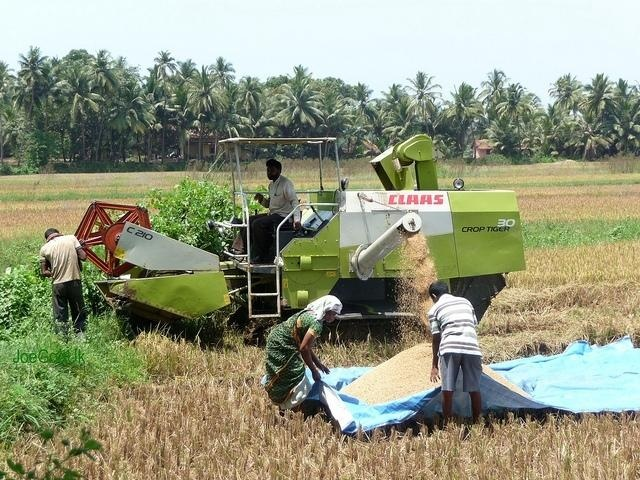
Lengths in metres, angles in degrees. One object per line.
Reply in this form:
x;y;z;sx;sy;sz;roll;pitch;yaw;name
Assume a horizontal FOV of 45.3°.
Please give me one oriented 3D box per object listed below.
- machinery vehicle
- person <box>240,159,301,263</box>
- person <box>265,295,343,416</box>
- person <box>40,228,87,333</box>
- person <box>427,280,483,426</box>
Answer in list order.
-0.204;-0.052;13.754;7.366;3.580;2.850;-2;-9;-4;machinery vehicle
-0.860;-0.484;13.017;0.949;1.810;1.007;-1;6;-17;person
-0.227;1.637;10.666;1.002;1.999;0.803;-1;23;-19;person
-4.097;0.720;12.260;0.689;1.490;0.486;-4;12;-20;person
1.805;1.497;10.241;0.805;1.731;0.687;6;13;24;person
